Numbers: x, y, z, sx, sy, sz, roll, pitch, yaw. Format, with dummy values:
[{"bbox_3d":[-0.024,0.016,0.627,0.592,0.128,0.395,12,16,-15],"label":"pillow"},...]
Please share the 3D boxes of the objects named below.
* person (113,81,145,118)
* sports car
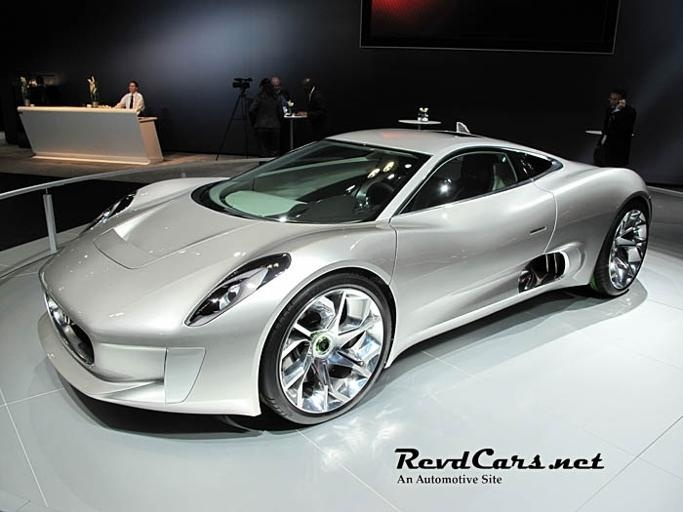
[{"bbox_3d":[-5.783,-4.314,11.189,0.761,0.925,0.530,3,9,0],"label":"person"},{"bbox_3d":[0.268,-0.001,2.891,3.870,1.156,1.882,-12,29,-33],"label":"sports car"}]
